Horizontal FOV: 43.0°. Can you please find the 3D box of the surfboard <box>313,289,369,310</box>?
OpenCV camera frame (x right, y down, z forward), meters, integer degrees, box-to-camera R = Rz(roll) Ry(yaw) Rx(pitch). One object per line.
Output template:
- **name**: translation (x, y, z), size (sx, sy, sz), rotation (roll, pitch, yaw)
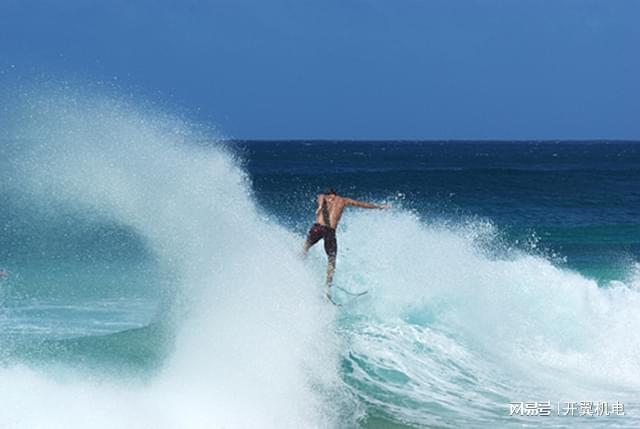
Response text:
- **surfboard**: translation (0.392, 1.988, 19.508), size (0.859, 0.250, 0.559), rotation (-1, 10, -20)
